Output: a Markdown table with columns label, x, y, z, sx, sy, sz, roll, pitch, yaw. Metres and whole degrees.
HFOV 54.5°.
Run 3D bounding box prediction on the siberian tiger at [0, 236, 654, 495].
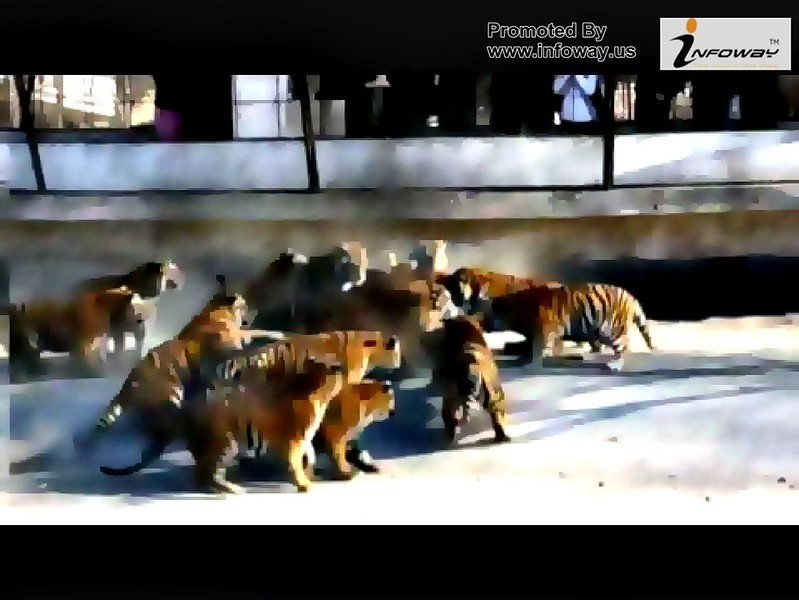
| label | x | y | z | sx | sy | sz | roll | pitch | yaw |
| --- | --- | --- | --- | --- | --- | --- | --- | --- | --- |
| siberian tiger | -0.807 | 0.290 | 3.816 | 2.663 | 0.828 | 1.355 | -1 | 16 | 8 |
